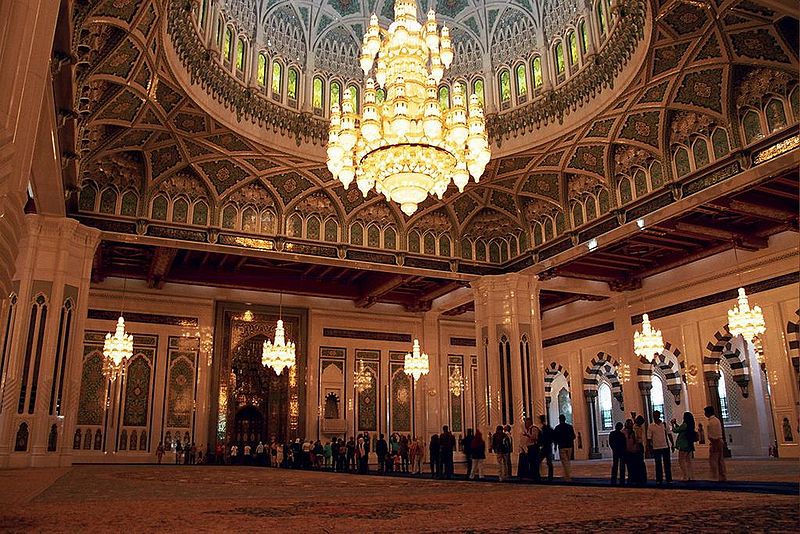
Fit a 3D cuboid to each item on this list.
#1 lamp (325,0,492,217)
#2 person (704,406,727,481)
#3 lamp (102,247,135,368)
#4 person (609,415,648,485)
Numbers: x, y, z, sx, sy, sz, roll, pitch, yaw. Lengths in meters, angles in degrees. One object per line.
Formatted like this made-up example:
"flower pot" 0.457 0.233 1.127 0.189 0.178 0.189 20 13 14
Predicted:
"lamp" 0.115 -3.002 10.582 2.591 3.778 1.136 -1 -18 0
"person" 5.232 2.904 9.965 0.269 1.190 0.804 -9 -20 25
"lamp" -7.900 1.454 17.015 0.805 2.963 2.680 8 -21 -25
"person" 3.799 3.102 10.111 0.578 1.031 1.146 -7 -19 17
